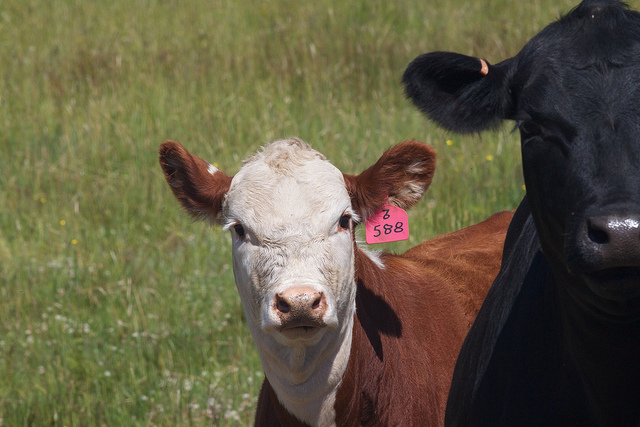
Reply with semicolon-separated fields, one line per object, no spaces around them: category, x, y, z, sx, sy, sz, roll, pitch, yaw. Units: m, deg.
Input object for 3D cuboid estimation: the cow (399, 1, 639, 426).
cow;1.674;0.253;7.130;1.460;3.263;1.924;2;32;-4
